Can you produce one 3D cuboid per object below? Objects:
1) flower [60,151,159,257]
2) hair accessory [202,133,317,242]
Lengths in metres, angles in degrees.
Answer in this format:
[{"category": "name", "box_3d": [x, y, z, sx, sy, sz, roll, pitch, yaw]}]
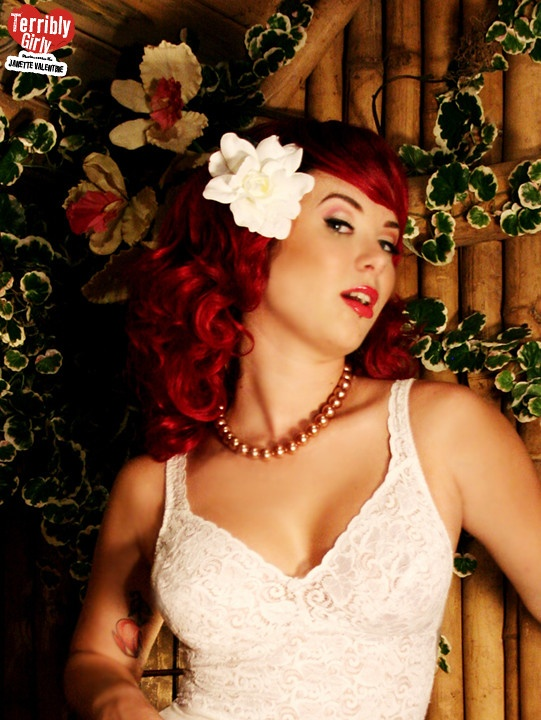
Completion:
[{"category": "flower", "box_3d": [-0.324, -0.348, 1.814, 0.230, 0.222, 0.108, -15, 26, 18]}, {"category": "hair accessory", "box_3d": [-0.025, -0.337, 1.532, 0.206, 0.186, 0.119, 7, 16, -2]}]
